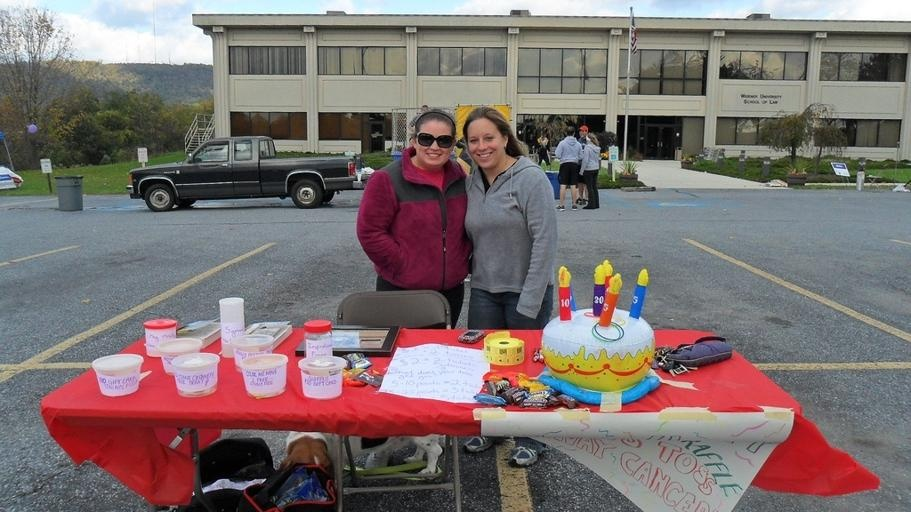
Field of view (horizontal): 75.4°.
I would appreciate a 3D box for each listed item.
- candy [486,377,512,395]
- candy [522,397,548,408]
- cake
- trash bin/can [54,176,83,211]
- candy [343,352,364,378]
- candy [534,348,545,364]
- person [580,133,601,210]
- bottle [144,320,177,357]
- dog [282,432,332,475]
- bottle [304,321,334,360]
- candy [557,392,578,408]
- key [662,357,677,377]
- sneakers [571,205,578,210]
[{"bbox_3d":[0.331,0.973,4.461,0.120,0.054,0.121,-10,14,-18],"label":"candy"},{"bbox_3d":[0.591,1.074,4.322,0.118,0.043,0.087,0,1,14],"label":"candy"},{"bbox_3d":[1.194,0.602,4.704,0.966,0.947,0.934,2,4,43],"label":"cake"},{"bbox_3d":[-11.362,-1.835,17.515,0.908,0.961,0.886,1,6,18],"label":"trash bin/can"},{"bbox_3d":[-0.788,0.851,4.635,0.129,0.047,0.162,-6,32,-4],"label":"candy"},{"bbox_3d":[0.688,0.807,4.814,0.074,0.034,0.095,-5,13,19],"label":"candy"},{"bbox_3d":[3.842,-2.351,16.727,0.571,2.025,1.107,2,12,12],"label":"person"},{"bbox_3d":[-2.407,0.638,4.861,0.279,0.264,0.282,6,7,36],"label":"bottle"},{"bbox_3d":[-1.212,1.614,4.876,0.419,0.190,0.520,-1,14,-22],"label":"dog"},{"bbox_3d":[-1.054,0.654,4.624,0.252,0.289,0.253,0,2,-3],"label":"bottle"},{"bbox_3d":[0.825,1.063,4.339,0.079,0.036,0.130,6,14,-37],"label":"candy"},{"bbox_3d":[1.688,0.866,4.623,0.109,0.114,0.083,-13,-3,9],"label":"key"},{"bbox_3d":[3.373,-1.367,16.671,0.148,0.134,0.364,-1,0,10],"label":"sneakers"}]
